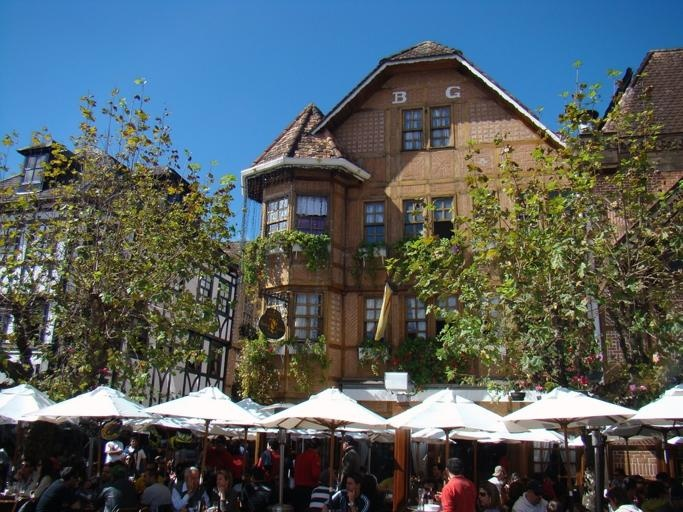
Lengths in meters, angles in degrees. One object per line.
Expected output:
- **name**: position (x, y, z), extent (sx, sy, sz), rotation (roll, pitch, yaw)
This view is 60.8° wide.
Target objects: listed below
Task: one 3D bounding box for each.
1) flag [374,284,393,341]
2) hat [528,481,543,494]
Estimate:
- **flag**: position (1.543, 2.115, 21.171), extent (0.184, 1.901, 1.514), rotation (13, -20, 6)
- **hat**: position (3.627, 4.308, 10.844), extent (0.314, 0.232, 0.182), rotation (6, -17, -17)
